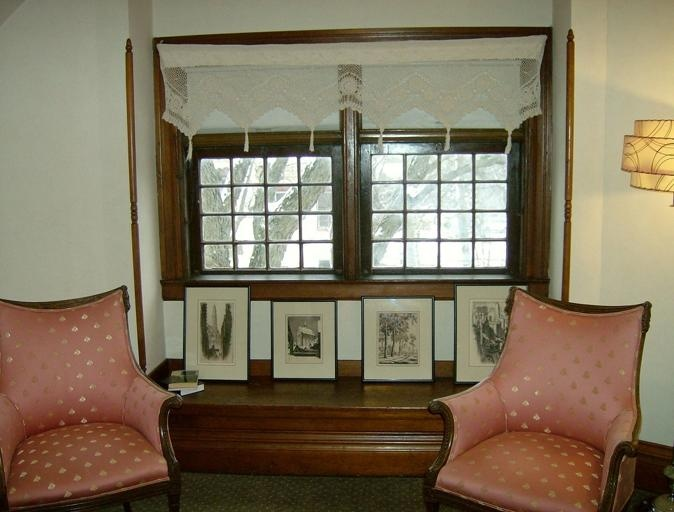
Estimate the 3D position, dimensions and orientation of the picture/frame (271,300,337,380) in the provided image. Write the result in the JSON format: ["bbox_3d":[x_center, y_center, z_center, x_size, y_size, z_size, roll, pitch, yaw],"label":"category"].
[{"bbox_3d":[-0.227,0.631,4.312,0.520,0.672,0.025,0,-5,1],"label":"picture/frame"}]

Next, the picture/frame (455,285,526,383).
[{"bbox_3d":[1.019,0.529,3.907,0.601,0.902,0.032,2,0,2],"label":"picture/frame"}]

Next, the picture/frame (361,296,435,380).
[{"bbox_3d":[0.457,0.611,4.281,0.540,0.674,0.029,0,-6,0],"label":"picture/frame"}]

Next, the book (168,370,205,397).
[{"bbox_3d":[-1.042,0.882,4.095,0.167,0.060,0.214,0,5,-24],"label":"book"}]
